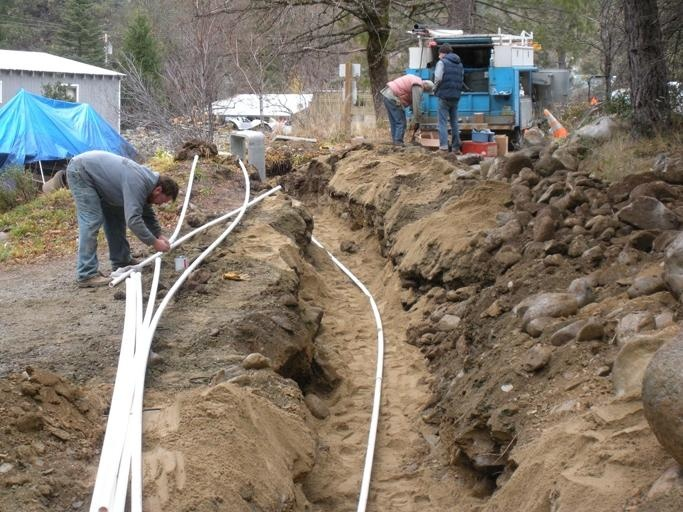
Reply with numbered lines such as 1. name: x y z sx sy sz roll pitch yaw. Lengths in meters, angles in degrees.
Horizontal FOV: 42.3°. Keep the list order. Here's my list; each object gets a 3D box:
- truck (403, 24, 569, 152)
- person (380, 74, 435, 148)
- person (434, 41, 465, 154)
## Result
1. truck: 3.204 -3.585 18.920 2.086 2.208 3.365 7 22 24
2. person: 1.337 -2.895 17.326 0.932 1.343 1.243 -2 11 7
3. person: 1.975 -2.887 16.161 0.502 1.990 0.973 -1 11 8
